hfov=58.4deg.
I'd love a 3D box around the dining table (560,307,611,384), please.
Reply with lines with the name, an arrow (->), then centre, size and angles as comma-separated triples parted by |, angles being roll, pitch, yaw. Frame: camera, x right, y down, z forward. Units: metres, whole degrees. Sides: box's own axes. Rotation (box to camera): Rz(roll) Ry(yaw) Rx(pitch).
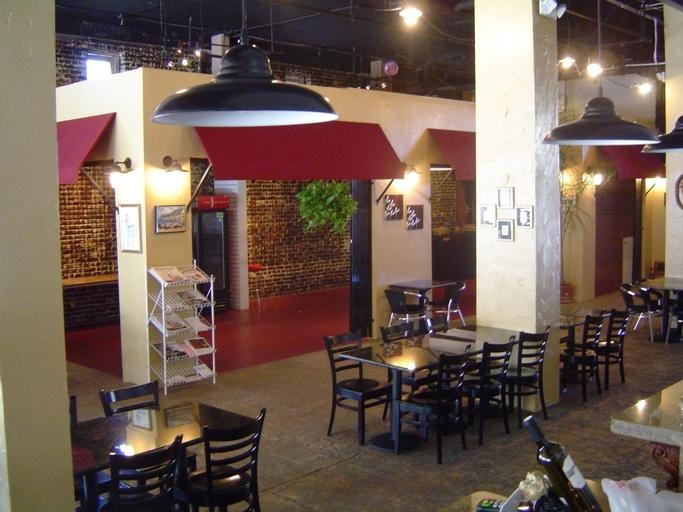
dining table -> 3.152, 1.261, 8.442 | 0.692, 1.021, 0.708 | -7, 11, -38

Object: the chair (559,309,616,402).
chair -> 3.310, 1.330, 8.333 | 0.574, 0.920, 0.609 | -9, -10, 17

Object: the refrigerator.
refrigerator -> -2.728, -0.042, 12.986 | 0.659, 2.018, 0.667 | -2, 7, -17

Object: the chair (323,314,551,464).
chair -> 1.086, 1.433, 6.928 | 2.020, 1.044, 1.216 | -6, 6, -34

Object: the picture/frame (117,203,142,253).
picture/frame -> -2.907, -0.392, 8.382 | 0.051, 0.675, 0.624 | 2, -2, -39

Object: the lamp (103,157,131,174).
lamp -> -3.090, -1.220, 8.325 | 0.301, 0.209, 0.483 | -7, 6, -39

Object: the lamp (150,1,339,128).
lamp -> -0.468, -0.751, 3.016 | 0.627, 0.700, 0.615 | 1, 3, 35

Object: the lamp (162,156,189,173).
lamp -> -2.221, -1.256, 8.350 | 0.301, 0.230, 0.415 | 1, 6, 43
